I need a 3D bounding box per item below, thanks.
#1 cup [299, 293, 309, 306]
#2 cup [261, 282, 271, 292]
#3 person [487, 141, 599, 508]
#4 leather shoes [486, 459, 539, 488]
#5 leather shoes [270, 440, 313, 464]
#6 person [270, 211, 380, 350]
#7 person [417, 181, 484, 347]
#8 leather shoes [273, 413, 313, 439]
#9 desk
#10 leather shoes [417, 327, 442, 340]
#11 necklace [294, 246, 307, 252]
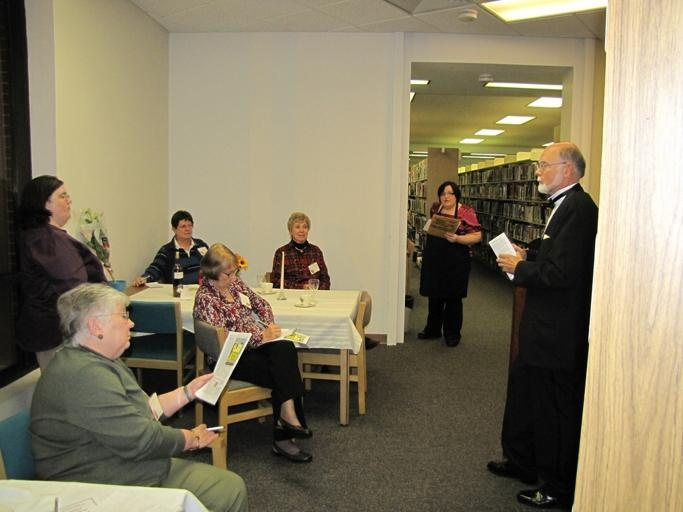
[{"bbox_3d":[-0.282,0.335,3.966,0.062,0.066,0.080,-4,-9,31],"label":"cup"},{"bbox_3d":[-0.635,0.261,4.317,0.082,0.065,0.068,-2,-5,19],"label":"cup"},{"bbox_3d":[1.126,0.393,2.910,0.482,2.038,0.382,4,8,23],"label":"person"},{"bbox_3d":[1.046,1.304,3.206,0.334,0.151,0.118,4,8,30],"label":"leather shoes"},{"bbox_3d":[-0.328,1.259,3.393,0.307,0.136,0.107,-1,1,40],"label":"leather shoes"},{"bbox_3d":[-0.352,0.223,4.646,0.542,1.227,0.879,-1,10,-17],"label":"person"},{"bbox_3d":[1.210,0.077,5.804,0.641,1.810,0.501,2,8,15],"label":"person"},{"bbox_3d":[-0.275,1.097,3.280,0.332,0.147,0.116,-12,-20,33],"label":"leather shoes"},{"bbox_3d":[-0.672,0.654,3.426,1.037,0.519,0.871,0,2,8],"label":"desk"},{"bbox_3d":[1.019,0.902,5.979,0.324,0.167,0.111,2,1,-5],"label":"leather shoes"},{"bbox_3d":[-0.383,-0.071,4.774,0.062,0.062,0.015,8,-25,-24],"label":"necklace"}]
